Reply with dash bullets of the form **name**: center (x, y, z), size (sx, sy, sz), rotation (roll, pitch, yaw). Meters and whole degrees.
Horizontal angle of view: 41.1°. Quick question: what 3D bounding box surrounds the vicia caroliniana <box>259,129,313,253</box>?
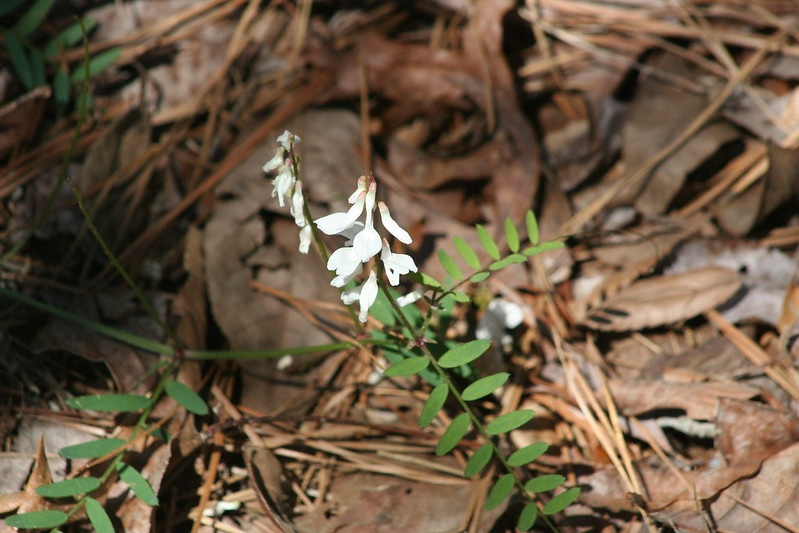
- **vicia caroliniana**: center (-0.433, -0.294, 3.966), size (0.136, 0.482, 0.151), rotation (-22, 49, -17)
